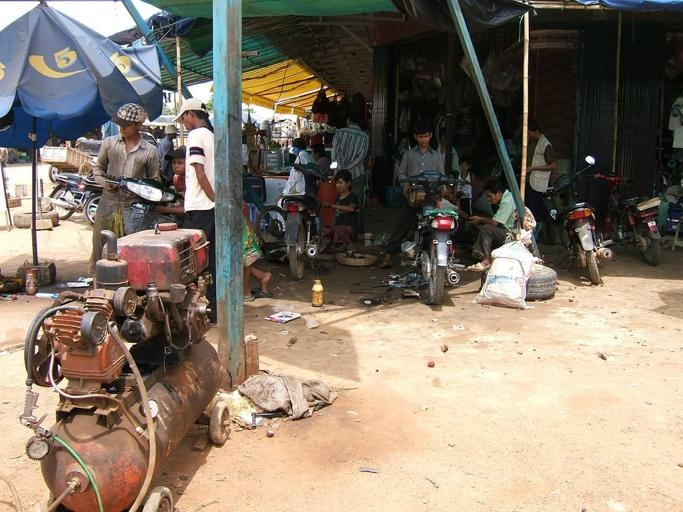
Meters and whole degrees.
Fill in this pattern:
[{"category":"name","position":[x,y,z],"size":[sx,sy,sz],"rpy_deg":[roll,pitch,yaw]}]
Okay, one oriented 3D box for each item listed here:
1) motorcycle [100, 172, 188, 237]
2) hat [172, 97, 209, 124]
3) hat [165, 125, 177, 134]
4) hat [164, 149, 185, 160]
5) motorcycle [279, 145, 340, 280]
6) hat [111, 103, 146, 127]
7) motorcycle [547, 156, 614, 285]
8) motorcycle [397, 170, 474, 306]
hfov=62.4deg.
[{"category":"motorcycle","position":[-2.219,-0.618,6.502],"size":[0.650,0.654,0.994],"rpy_deg":[17,2,-7]},{"category":"hat","position":[-1.548,-1.537,5.856],"size":[0.444,0.217,0.280],"rpy_deg":[2,6,38]},{"category":"hat","position":[-3.609,-2.661,11.864],"size":[0.170,0.125,0.238],"rpy_deg":[10,1,6]},{"category":"hat","position":[-1.911,-1.195,6.519],"size":[0.140,0.119,0.232],"rpy_deg":[0,-12,27]},{"category":"motorcycle","position":[-0.585,-0.672,8.667],"size":[0.706,1.940,1.580],"rpy_deg":[-2,5,-2]},{"category":"hat","position":[-2.341,-1.582,6.378],"size":[0.247,0.174,0.333],"rpy_deg":[4,14,0]},{"category":"motorcycle","position":[3.641,-0.587,8.722],"size":[0.912,1.785,2.348],"rpy_deg":[0,5,20]},{"category":"motorcycle","position":[1.162,-0.280,7.461],"size":[0.727,1.729,1.411],"rpy_deg":[-1,5,6]}]
